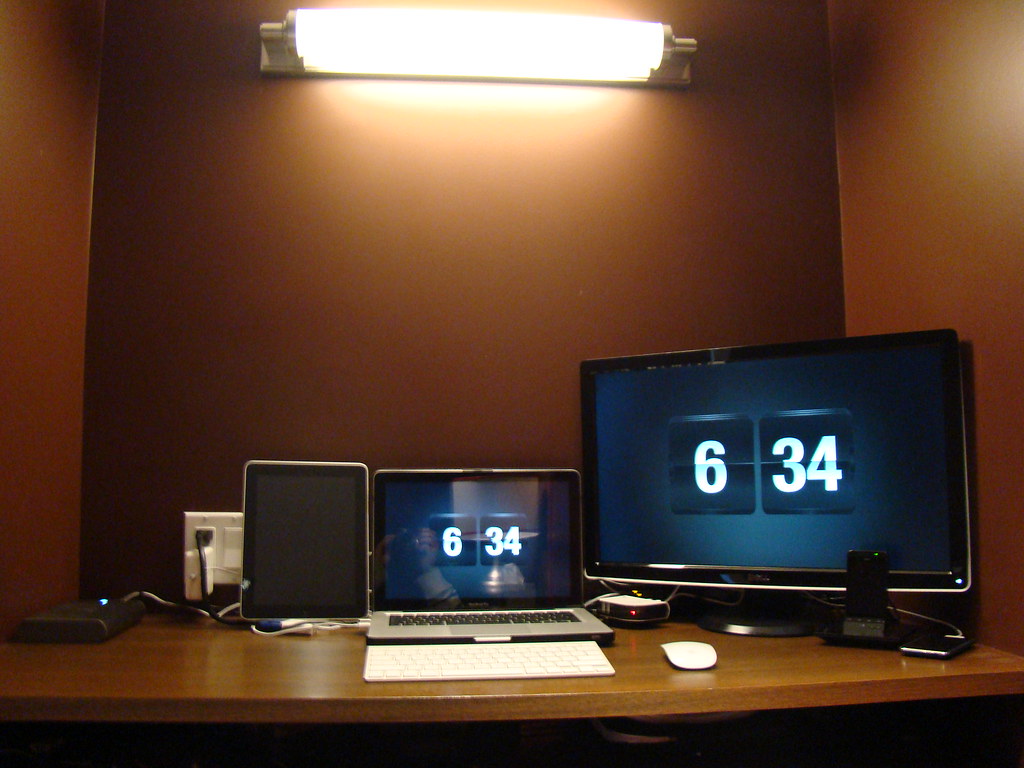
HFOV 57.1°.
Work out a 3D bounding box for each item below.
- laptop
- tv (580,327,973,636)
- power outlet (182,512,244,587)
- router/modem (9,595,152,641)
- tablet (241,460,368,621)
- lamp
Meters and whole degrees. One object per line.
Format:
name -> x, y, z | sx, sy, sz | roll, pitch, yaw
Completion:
laptop -> -0.081, 0.384, 2.367 | 0.565, 0.411, 0.426 | 1, -6, -8
tv -> 0.575, 0.174, 2.157 | 0.853, 0.573, 0.052 | -1, -6, 18
power outlet -> -0.735, 0.416, 2.281 | 0.154, 0.205, 0.049 | 0, -6, 13
router/modem -> -0.972, 0.520, 2.121 | 0.205, 0.057, 0.262 | 3, 1, -9
tablet -> -0.491, 0.374, 2.235 | 0.301, 0.370, 0.019 | 2, -6, -3
lamp -> -0.090, -0.939, 2.203 | 1.004, 0.180, 0.173 | 1, -10, -5
